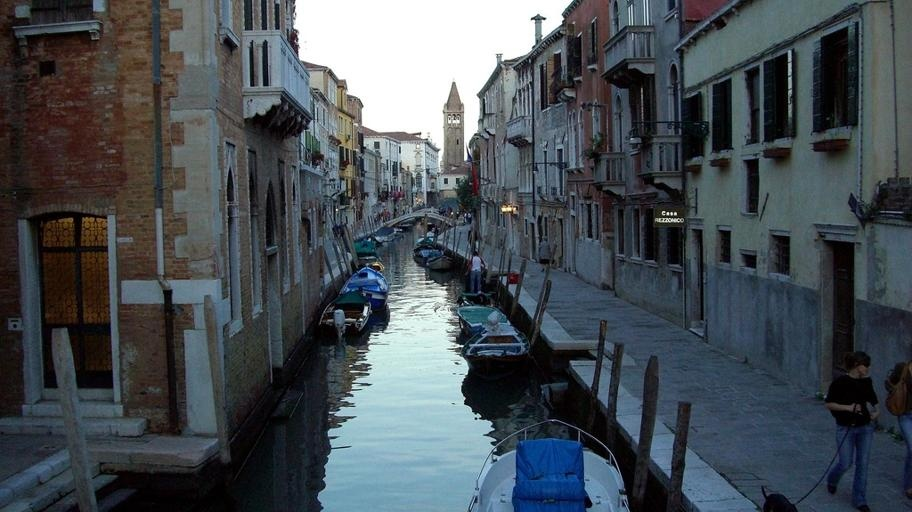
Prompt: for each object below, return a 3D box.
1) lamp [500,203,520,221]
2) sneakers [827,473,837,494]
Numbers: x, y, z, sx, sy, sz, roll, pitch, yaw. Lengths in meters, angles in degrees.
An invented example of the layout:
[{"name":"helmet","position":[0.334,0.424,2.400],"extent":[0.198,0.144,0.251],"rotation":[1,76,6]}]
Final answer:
[{"name":"lamp","position":[3.538,-2.947,53.913],"extent":[1.051,0.918,2.085],"rotation":[-3,1,3]},{"name":"sneakers","position":[7.477,4.597,16.575],"extent":[0.142,0.424,0.181],"rotation":[3,-26,34]}]
